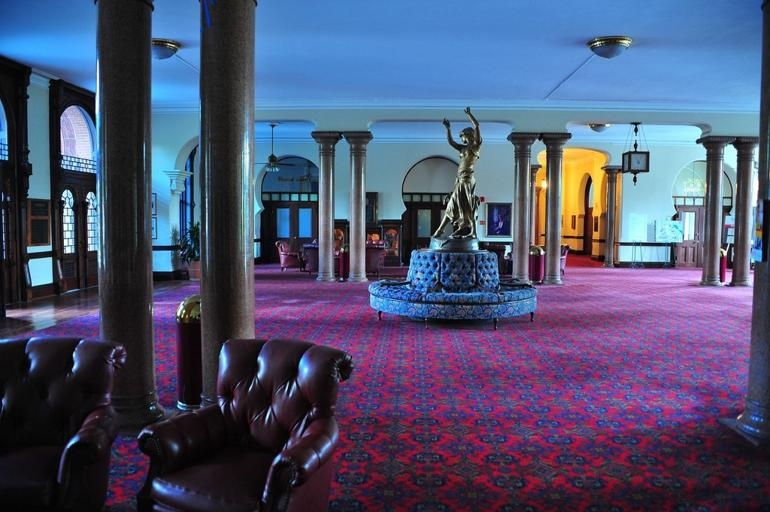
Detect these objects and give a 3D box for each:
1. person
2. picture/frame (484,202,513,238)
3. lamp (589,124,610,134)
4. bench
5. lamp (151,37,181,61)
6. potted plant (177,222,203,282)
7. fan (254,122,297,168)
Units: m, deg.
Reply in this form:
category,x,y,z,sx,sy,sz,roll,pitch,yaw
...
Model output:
category,x,y,z,sx,sy,sz,roll,pitch,yaw
person,1.446,-1.615,11.180,0.727,2.439,1.159,1,11,9
picture/frame,3.871,-1.287,19.687,1.178,1.679,0.215,0,3,0
lamp,6.205,-3.720,16.769,0.509,0.374,0.522,-4,7,-22
bench,1.253,0.612,10.622,2.893,1.334,1.222,0,11,6
lamp,-3.964,-3.769,10.498,0.515,0.294,0.470,-6,13,-23
potted plant,-5.543,-0.118,16.282,0.589,1.403,1.012,-5,12,-20
fan,-3.516,-3.411,18.646,1.345,1.536,1.365,0,2,12
